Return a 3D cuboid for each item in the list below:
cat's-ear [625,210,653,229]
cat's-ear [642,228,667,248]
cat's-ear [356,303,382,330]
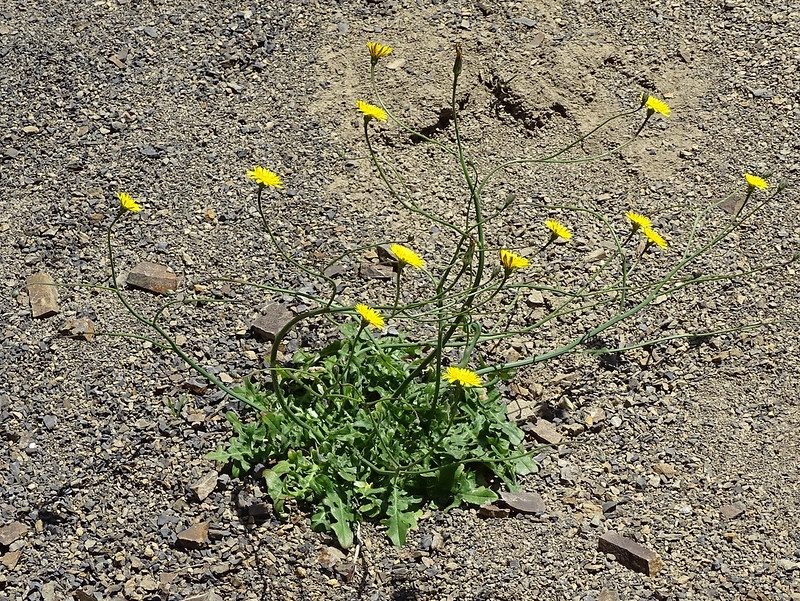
[{"bbox_3d":[1.314,-0.439,4.717,0.157,0.053,0.146,13,25,-9],"label":"cat's-ear"},{"bbox_3d":[1.394,-0.337,4.686,0.119,0.035,0.114,25,22,-37],"label":"cat's-ear"},{"bbox_3d":[-0.121,0.076,3.825,0.127,0.043,0.116,15,33,-43],"label":"cat's-ear"}]
